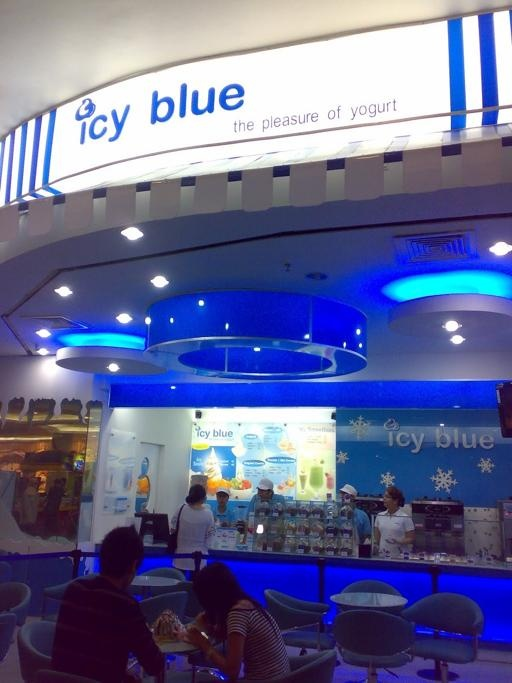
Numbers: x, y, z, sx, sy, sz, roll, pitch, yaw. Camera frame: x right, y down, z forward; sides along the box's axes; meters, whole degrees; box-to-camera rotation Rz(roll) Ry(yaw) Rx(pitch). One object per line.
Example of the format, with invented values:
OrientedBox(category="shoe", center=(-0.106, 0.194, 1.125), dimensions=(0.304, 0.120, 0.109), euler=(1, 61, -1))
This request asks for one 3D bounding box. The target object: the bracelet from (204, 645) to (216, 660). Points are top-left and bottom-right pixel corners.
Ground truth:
OrientedBox(category="bracelet", center=(-0.157, 1.098, 1.840), dimensions=(0.034, 0.014, 0.039), euler=(11, 12, 13))

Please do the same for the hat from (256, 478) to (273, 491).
OrientedBox(category="hat", center=(0.128, 1.702, 6.171), dimensions=(0.120, 0.101, 0.175), euler=(6, -21, 26))
